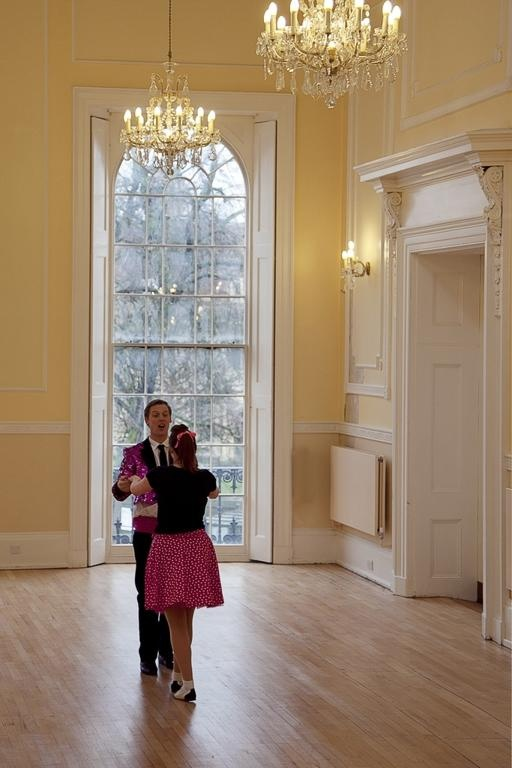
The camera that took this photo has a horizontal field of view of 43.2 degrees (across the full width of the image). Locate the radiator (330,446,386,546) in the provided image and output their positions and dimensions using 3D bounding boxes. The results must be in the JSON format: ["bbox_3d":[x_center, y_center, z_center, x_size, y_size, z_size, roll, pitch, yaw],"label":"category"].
[{"bbox_3d":[0.901,0.961,5.631,0.087,0.716,0.918,0,3,-17],"label":"radiator"}]

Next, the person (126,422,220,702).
[{"bbox_3d":[-0.341,0.786,2.782,0.384,1.222,0.332,0,1,-5],"label":"person"}]

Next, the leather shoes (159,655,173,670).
[{"bbox_3d":[-0.463,1.437,3.333,0.036,0.047,0.109,4,-8,-26],"label":"leather shoes"}]

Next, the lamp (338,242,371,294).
[{"bbox_3d":[0.863,-1.093,5.918,0.217,0.446,0.621,0,1,-6],"label":"lamp"}]
